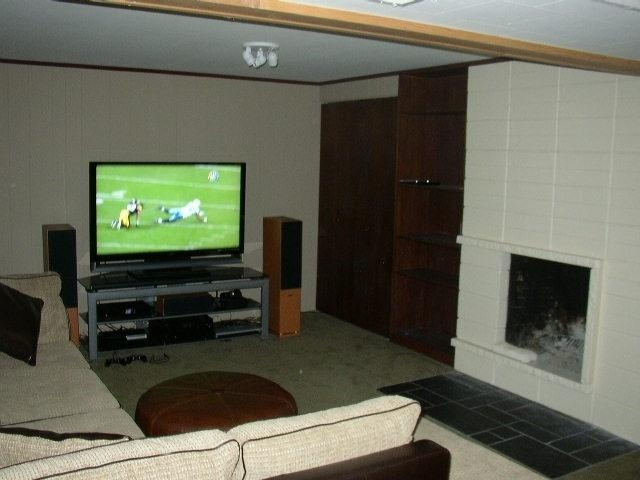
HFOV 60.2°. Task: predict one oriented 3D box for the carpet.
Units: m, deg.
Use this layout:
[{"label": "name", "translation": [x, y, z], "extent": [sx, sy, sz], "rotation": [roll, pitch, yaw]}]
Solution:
[{"label": "carpet", "translation": [-0.458, 1.421, 5.534], "extent": [3.123, 0.053, 2.789], "rotation": [23, -14, -17]}]
